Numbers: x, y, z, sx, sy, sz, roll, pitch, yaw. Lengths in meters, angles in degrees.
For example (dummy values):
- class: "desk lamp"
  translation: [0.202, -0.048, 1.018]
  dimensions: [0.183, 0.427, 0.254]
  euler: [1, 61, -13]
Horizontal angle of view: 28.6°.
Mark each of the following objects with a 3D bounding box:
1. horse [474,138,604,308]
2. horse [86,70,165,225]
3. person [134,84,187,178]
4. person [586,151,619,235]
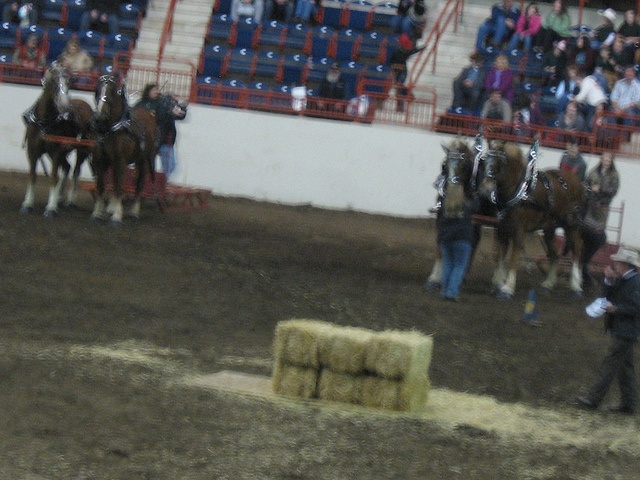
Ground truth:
- class: "horse"
  translation: [4.660, -0.426, 27.730]
  dimensions: [1.317, 3.269, 4.786]
  euler: [5, 0, 39]
- class: "horse"
  translation: [-4.644, -1.969, 29.076]
  dimensions: [1.602, 3.186, 4.895]
  euler: [2, 0, 3]
- class: "person"
  translation: [-3.956, -2.805, 31.588]
  dimensions: [1.221, 2.393, 0.982]
  euler: [2, 22, -5]
- class: "person"
  translation: [6.426, -1.062, 28.535]
  dimensions: [0.558, 2.089, 0.513]
  euler: [6, 15, 15]
